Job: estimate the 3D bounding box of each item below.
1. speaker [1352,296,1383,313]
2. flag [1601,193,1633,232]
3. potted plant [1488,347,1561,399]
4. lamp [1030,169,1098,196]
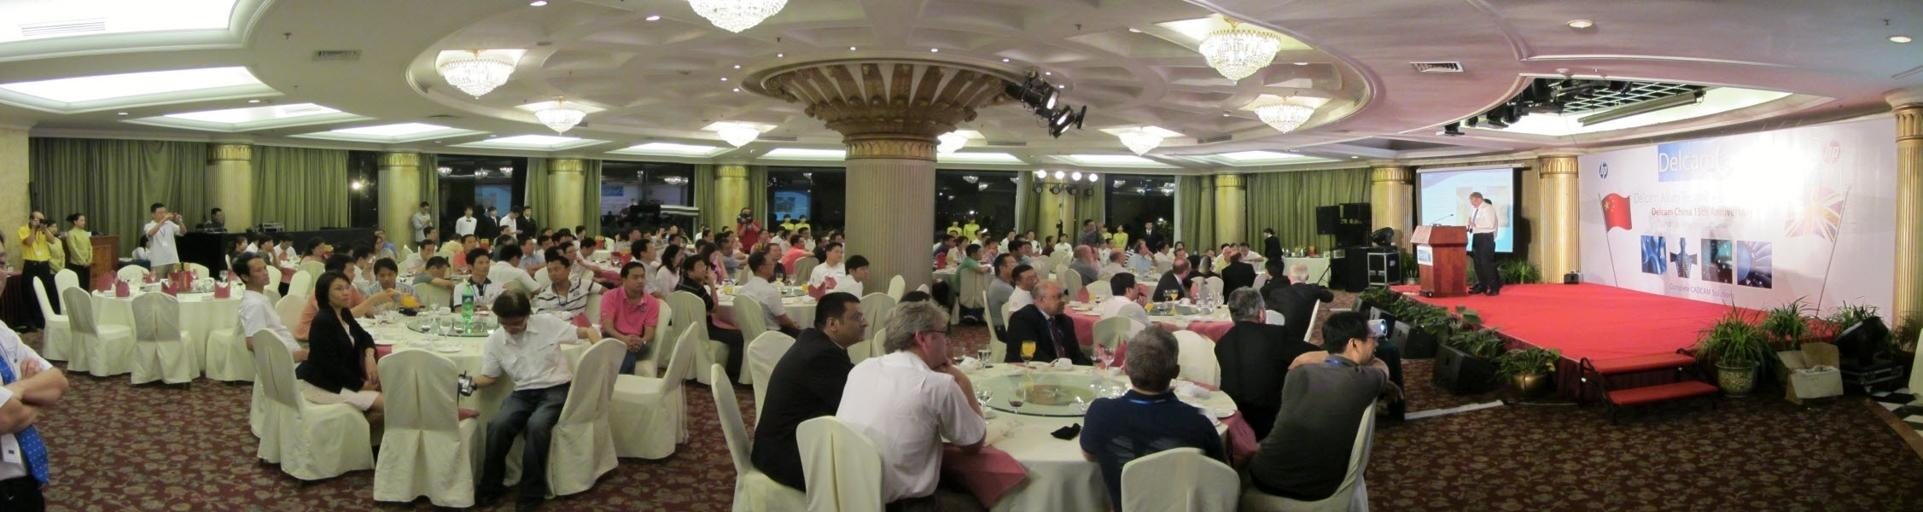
[{"bbox_3d":[15.897,1.987,35.526,1.753,0.580,1.300,-1,-2,8],"label":"speaker"},{"bbox_3d":[26.963,-1.824,37.233,0.219,1.393,1.000,-5,8,-30],"label":"flag"},{"bbox_3d":[19.559,4.076,32.070,2.856,1.068,2.078,0,1,-5],"label":"potted plant"},{"bbox_3d":[5.288,-3.707,47.236,4.726,0.845,1.463,1,4,-2],"label":"lamp"}]
